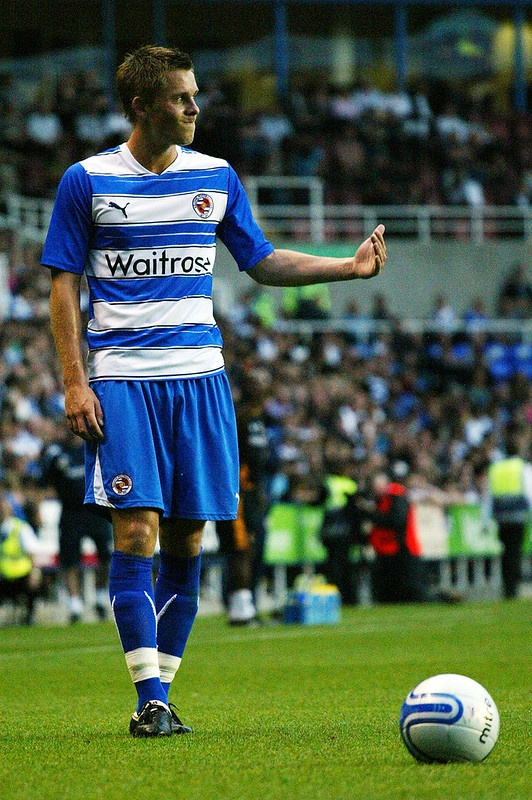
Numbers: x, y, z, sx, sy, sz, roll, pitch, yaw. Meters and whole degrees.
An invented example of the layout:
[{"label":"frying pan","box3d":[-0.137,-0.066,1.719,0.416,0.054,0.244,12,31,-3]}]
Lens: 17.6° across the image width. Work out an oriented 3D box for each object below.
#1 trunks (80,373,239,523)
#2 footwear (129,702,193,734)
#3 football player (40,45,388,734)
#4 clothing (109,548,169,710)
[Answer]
[{"label":"trunks","box3d":[-0.323,0.136,5.725,0.516,0.485,0.308,-1,5,-5]},{"label":"footwear","box3d":[-0.340,1.011,5.461,0.091,0.090,0.229,1,1,9]},{"label":"football player","box3d":[-0.375,-0.073,5.727,0.807,2.174,0.883,7,10,6]},{"label":"clothing","box3d":[-0.387,0.734,5.571,0.198,0.464,0.369,2,10,-23]}]
